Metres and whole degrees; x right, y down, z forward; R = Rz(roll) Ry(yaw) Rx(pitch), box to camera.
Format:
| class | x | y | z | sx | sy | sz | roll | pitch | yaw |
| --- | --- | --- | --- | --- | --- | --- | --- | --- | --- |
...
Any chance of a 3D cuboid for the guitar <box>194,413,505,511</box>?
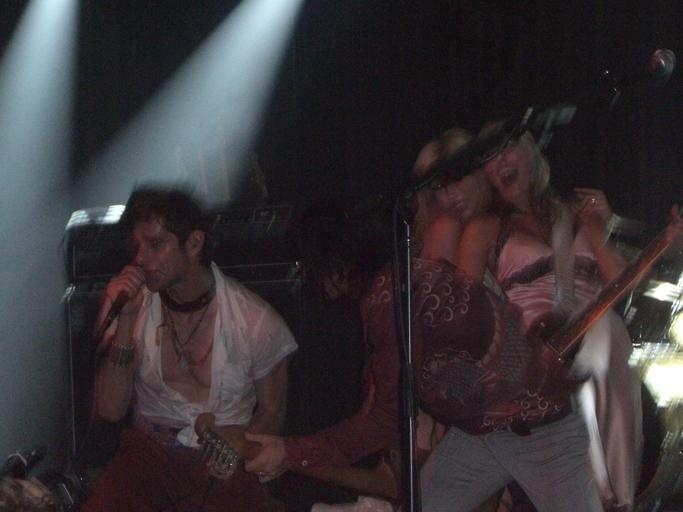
| class | x | y | z | sx | sy | sz | roll | pitch | yaw |
| --- | --- | --- | --- | --- | --- | --- | --- | --- | --- |
| guitar | -0.252 | 1.068 | 3.450 | 1.085 | 0.430 | 0.119 | 2 | 16 | 11 |

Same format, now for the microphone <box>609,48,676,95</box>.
| class | x | y | z | sx | sy | sz | roll | pitch | yaw |
| --- | --- | --- | --- | --- | --- | --- | --- | --- | --- |
| microphone | 1.550 | -0.944 | 3.390 | 0.336 | 0.210 | 0.078 | -5 | 16 | -10 |

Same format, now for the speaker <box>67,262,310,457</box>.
| class | x | y | z | sx | sy | sz | roll | pitch | yaw |
| --- | --- | --- | --- | --- | --- | --- | --- | --- | --- |
| speaker | -0.769 | 0.562 | 3.570 | 0.825 | 0.930 | 0.319 | -2 | -6 | 5 |
